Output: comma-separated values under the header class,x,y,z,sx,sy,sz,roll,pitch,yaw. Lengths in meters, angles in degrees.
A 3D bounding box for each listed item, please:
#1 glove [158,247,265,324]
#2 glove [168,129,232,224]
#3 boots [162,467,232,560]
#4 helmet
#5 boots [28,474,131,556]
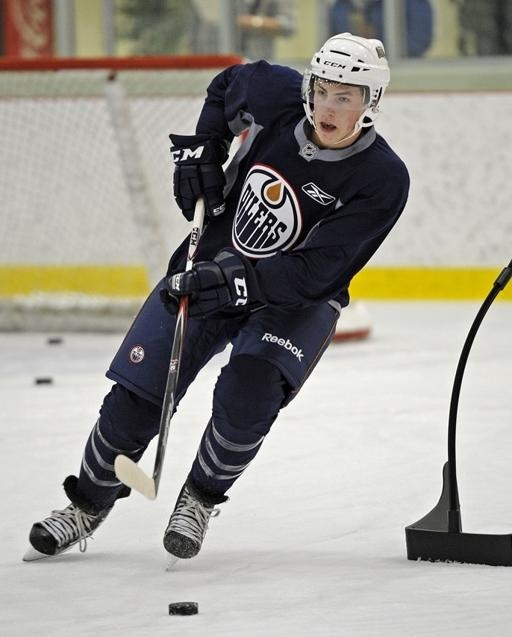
class,x,y,z,sx,sy,sz,roll,pitch,yaw
glove,-0.080,-0.055,1.663,0.196,0.163,0.123,8,25,-1
glove,-0.124,-0.299,1.804,0.155,0.150,0.078,6,8,32
boots,-0.114,0.380,1.730,0.080,0.074,0.187,30,36,-8
helmet,0.170,-0.455,1.701,0.182,0.174,0.209,15,28,24
boots,-0.356,0.390,1.794,0.100,0.096,0.246,44,45,17
